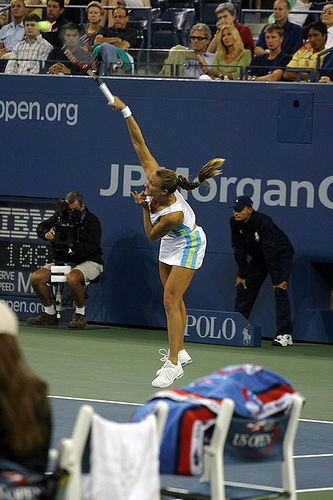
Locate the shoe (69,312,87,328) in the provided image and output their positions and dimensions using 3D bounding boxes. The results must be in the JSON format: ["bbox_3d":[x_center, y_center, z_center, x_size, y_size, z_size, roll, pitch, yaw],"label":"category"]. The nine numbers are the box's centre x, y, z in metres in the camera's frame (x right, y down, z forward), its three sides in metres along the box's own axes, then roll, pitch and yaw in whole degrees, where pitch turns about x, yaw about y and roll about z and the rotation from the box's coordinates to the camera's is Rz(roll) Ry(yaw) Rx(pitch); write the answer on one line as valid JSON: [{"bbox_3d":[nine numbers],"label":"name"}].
[{"bbox_3d":[-1.396,1.095,9.380,0.252,0.225,0.160,2,2,-9],"label":"shoe"}]

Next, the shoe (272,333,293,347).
[{"bbox_3d":[1.682,1.296,8.603,0.340,0.207,0.127,2,1,-28],"label":"shoe"}]

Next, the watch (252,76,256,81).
[{"bbox_3d":[1.323,-2.609,9.077,0.050,0.078,0.044,3,2,1],"label":"watch"}]

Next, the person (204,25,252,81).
[{"bbox_3d":[0.947,-3.020,9.243,0.697,0.834,0.492,3,2,11],"label":"person"}]

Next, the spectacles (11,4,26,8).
[{"bbox_3d":[-2.711,-4.434,10.867,0.218,0.041,0.089,2,2,0],"label":"spectacles"}]

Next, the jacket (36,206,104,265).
[{"bbox_3d":[-1.516,-0.209,9.503,0.855,0.936,0.714,0,8,-14],"label":"jacket"}]

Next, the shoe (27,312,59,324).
[{"bbox_3d":[-1.984,1.096,9.598,0.471,0.178,0.176,3,-3,-7],"label":"shoe"}]

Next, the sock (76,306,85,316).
[{"bbox_3d":[-1.344,0.937,9.296,0.108,0.103,0.104,1,6,2],"label":"sock"}]

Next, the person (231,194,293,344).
[{"bbox_3d":[1.388,0.290,8.735,0.972,2.113,0.498,3,2,4],"label":"person"}]

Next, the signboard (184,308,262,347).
[{"bbox_3d":[0.687,1.152,8.835,1.601,0.509,0.243,-2,-12,40],"label":"signboard"}]

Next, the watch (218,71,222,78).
[{"bbox_3d":[0.820,-2.726,9.250,0.053,0.085,0.040,3,2,8],"label":"watch"}]

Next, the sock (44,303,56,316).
[{"bbox_3d":[-1.831,0.951,9.503,0.181,0.128,0.153,2,8,34],"label":"sock"}]

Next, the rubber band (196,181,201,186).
[{"bbox_3d":[0.373,-0.756,6.784,0.014,0.050,0.055,-15,10,-9],"label":"rubber band"}]

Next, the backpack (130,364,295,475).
[{"bbox_3d":[0.197,0.691,2.609,0.710,0.340,0.505,4,-7,-37],"label":"backpack"}]
